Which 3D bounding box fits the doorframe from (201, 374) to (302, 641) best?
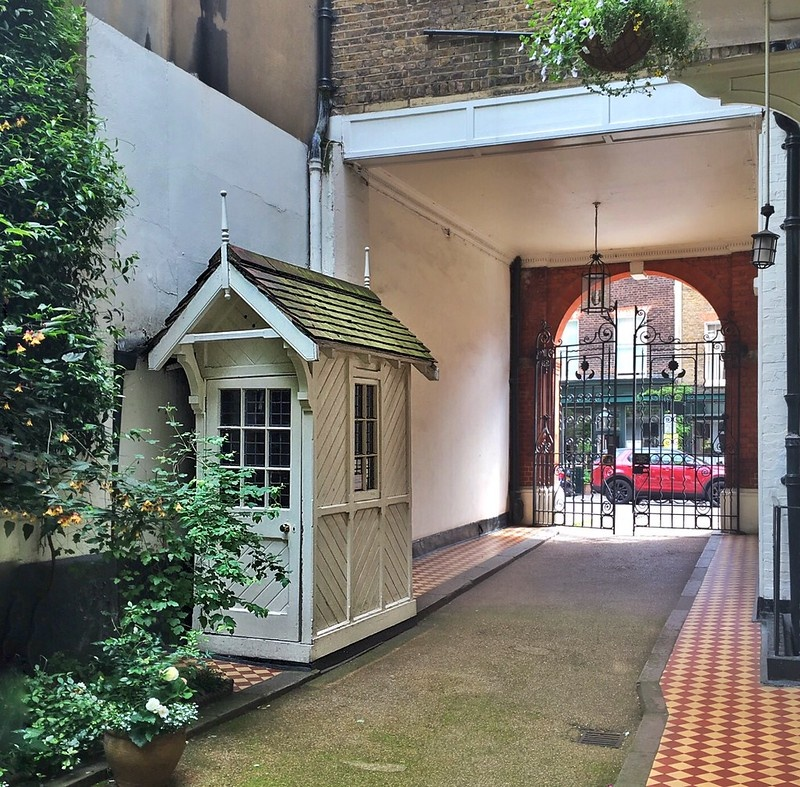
[{"bbox_3d":[-1.085,0.822,7.915,0.774,2.464,0.305,8,-44,-14],"label":"doorframe"}]
